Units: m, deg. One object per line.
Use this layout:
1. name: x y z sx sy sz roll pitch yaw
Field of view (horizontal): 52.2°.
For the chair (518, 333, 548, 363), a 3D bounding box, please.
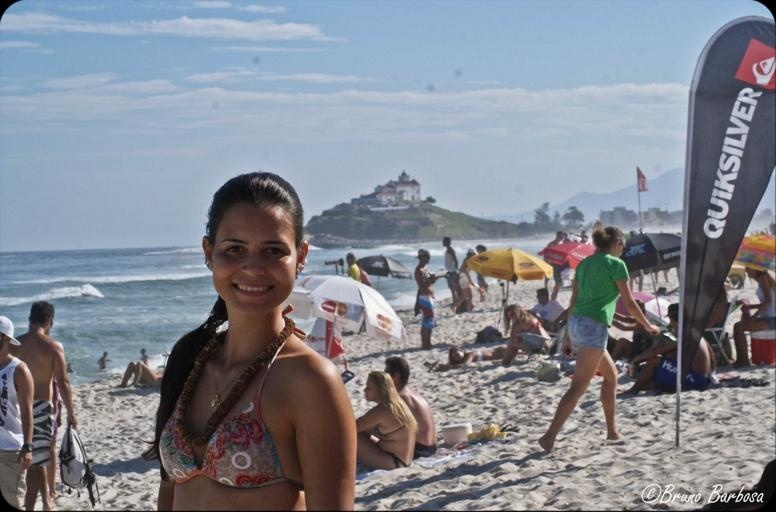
1. chair: 2.828 1.782 15.515 0.596 0.505 0.403 3 12 11
